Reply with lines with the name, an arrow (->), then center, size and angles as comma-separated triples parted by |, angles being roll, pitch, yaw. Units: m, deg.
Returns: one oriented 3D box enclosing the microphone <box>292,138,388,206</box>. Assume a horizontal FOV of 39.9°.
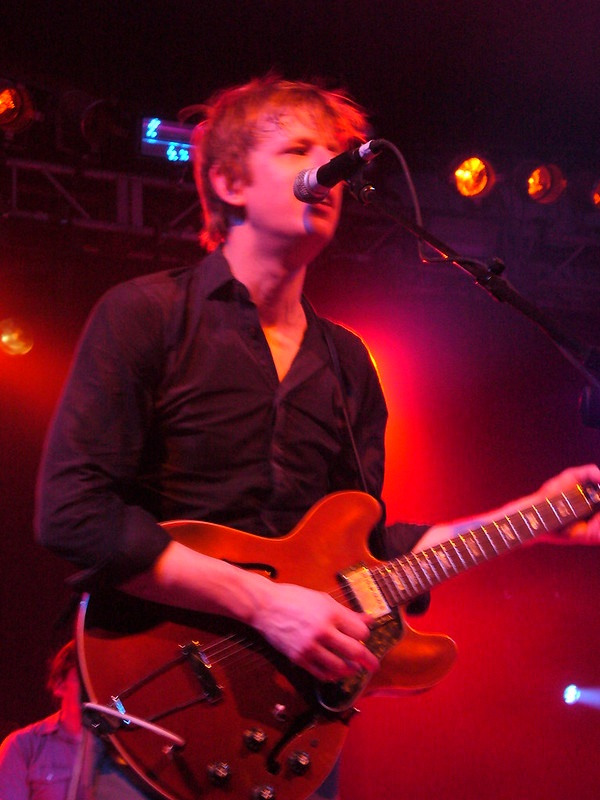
microphone -> 0.069, -0.522, 1.985 | 0.279, 0.077, 0.085 | -26, -10, 39
